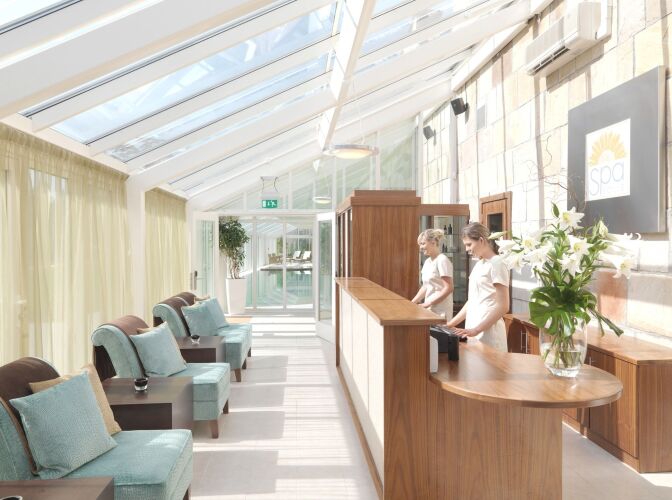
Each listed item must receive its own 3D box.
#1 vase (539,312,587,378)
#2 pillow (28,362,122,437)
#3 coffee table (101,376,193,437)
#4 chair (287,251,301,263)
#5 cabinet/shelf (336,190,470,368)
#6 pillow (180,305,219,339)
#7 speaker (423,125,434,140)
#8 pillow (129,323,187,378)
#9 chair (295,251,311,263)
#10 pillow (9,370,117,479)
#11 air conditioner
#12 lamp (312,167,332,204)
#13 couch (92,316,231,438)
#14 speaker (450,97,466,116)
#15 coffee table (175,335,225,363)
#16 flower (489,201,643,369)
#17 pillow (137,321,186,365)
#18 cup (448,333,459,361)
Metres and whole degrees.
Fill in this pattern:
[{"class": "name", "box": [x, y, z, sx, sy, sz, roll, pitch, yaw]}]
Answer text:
[{"class": "vase", "box": [1.611, 0.706, 4.004, 0.348, 0.464, 0.368, 1, -6, 21]}, {"class": "pillow", "box": [-1.987, 1.184, 4.273, 0.145, 0.509, 0.510, -16, 3, 10]}, {"class": "coffee table", "box": [-1.642, 1.333, 4.803, 0.522, 0.365, 0.556, 0, -2, -4]}, {"class": "chair", "box": [-1.066, 0.168, 13.986, 0.228, 0.301, 0.368, -5, 1, 37]}, {"class": "cabinet/shelf", "box": [0.947, 0.490, 8.650, 1.447, 2.619, 2.602, -1, 0, -1]}, {"class": "pillow", "box": [-1.786, 0.967, 7.491, 0.260, 0.499, 0.588, -4, 4, 26]}, {"class": "speaker", "box": [2.009, -2.575, 12.039, 0.076, 0.308, 0.282, -9, 38, -17]}, {"class": "pillow", "box": [-1.780, 1.060, 5.623, 0.300, 0.521, 0.606, 1, 7, 15]}, {"class": "chair", "box": [-0.847, 0.160, 14.011, 0.353, 0.284, 0.264, 0, -2, -26]}, {"class": "pillow", "box": [-1.921, 1.254, 3.971, 0.337, 0.616, 0.655, 1, 10, 22]}, {"class": "air conditioner", "box": [2.668, -2.510, 6.484, 0.273, 0.513, 1.101, -5, 4, -13]}, {"class": "lamp", "box": [-0.354, -1.568, 13.763, 0.601, 0.966, 0.601, -5, 7, -19]}, {"class": "couch", "box": [-1.744, 1.150, 5.794, 1.168, 1.222, 1.296, -1, -2, -2]}, {"class": "speaker", "box": [2.222, -2.629, 10.028, 0.188, 0.270, 0.362, -16, 40, 19]}, {"class": "coffee table", "box": [-1.570, 1.173, 6.569, 0.342, 0.236, 0.351, 0, -3, -1]}, {"class": "flower", "box": [1.580, 0.250, 3.810, 0.904, 1.141, 0.348, -3, 4, 17]}, {"class": "pillow", "box": [-1.780, 1.054, 5.622, 0.289, 0.520, 0.586, 0, 8, 16]}, {"class": "cup", "box": [0.902, 0.747, 4.247, 0.072, 0.212, 0.052, -4, 4, 0]}]
